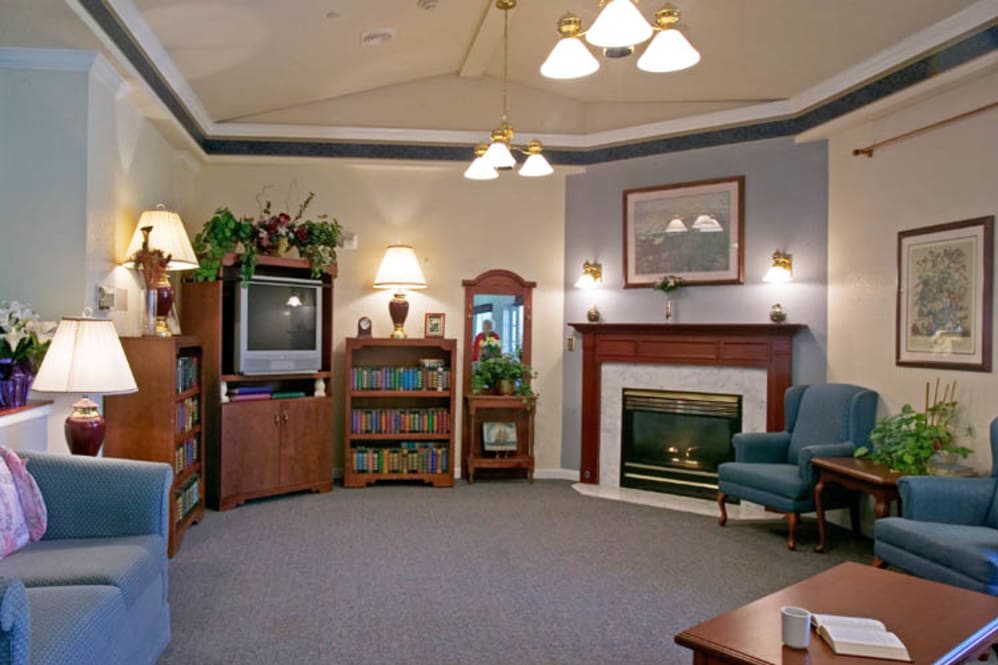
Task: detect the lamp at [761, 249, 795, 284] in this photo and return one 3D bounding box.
[{"bbox_3d":[2.669,-0.603,6.959,0.284,0.372,0.334,1,-2,-25],"label":"lamp"}]

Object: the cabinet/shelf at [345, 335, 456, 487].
[{"bbox_3d":[-1.048,0.883,7.579,1.542,1.980,0.642,0,-2,-7],"label":"cabinet/shelf"}]

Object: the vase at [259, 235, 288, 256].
[{"bbox_3d":[-2.206,-0.860,7.054,0.191,0.075,0.222,1,-12,-9],"label":"vase"}]

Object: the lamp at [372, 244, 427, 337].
[{"bbox_3d":[-1.061,-0.450,7.703,0.521,0.971,0.476,0,8,-9],"label":"lamp"}]

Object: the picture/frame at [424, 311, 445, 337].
[{"bbox_3d":[-0.703,-0.082,7.811,0.264,0.325,0.036,1,-7,-6],"label":"picture/frame"}]

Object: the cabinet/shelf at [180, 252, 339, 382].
[{"bbox_3d":[-2.347,-0.112,7.481,1.809,1.700,1.075,-1,2,-44],"label":"cabinet/shelf"}]

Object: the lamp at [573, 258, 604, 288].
[{"bbox_3d":[0.992,-0.632,7.776,0.299,0.334,0.272,2,-3,-30],"label":"lamp"}]

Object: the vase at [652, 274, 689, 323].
[{"bbox_3d":[1.735,-0.371,7.402,0.411,0.526,0.409,0,0,-4],"label":"vase"}]

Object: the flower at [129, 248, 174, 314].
[{"bbox_3d":[-2.828,-0.416,5.932,0.282,0.567,0.174,-4,9,-31],"label":"flower"}]

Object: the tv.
[{"bbox_3d":[-2.157,-0.065,6.951,1.008,1.199,0.467,1,-1,-44],"label":"tv"}]

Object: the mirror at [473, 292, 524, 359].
[{"bbox_3d":[-0.033,-0.054,7.936,0.727,1.018,0.051,0,-1,-4],"label":"mirror"}]

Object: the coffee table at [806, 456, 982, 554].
[{"bbox_3d":[3.069,1.279,5.761,0.728,0.732,0.760,-2,5,-20],"label":"coffee table"}]

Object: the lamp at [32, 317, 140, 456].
[{"bbox_3d":[-2.798,0.370,4.888,0.484,0.957,0.533,6,9,33],"label":"lamp"}]

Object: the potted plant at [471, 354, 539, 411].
[{"bbox_3d":[0.015,0.534,7.899,0.630,0.434,0.531,1,-2,-5],"label":"potted plant"}]

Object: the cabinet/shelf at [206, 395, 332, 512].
[{"bbox_3d":[-2.237,1.163,6.869,1.017,0.885,0.392,2,-6,-42],"label":"cabinet/shelf"}]

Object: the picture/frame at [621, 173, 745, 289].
[{"bbox_3d":[1.931,-1.036,7.358,1.236,1.036,0.052,0,-1,28],"label":"picture/frame"}]

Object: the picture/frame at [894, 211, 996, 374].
[{"bbox_3d":[3.575,-0.315,5.828,0.163,1.251,0.879,-2,9,-22],"label":"picture/frame"}]

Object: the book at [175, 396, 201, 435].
[{"bbox_3d":[-2.652,0.711,6.139,0.171,0.318,0.306,0,25,-5],"label":"book"}]
